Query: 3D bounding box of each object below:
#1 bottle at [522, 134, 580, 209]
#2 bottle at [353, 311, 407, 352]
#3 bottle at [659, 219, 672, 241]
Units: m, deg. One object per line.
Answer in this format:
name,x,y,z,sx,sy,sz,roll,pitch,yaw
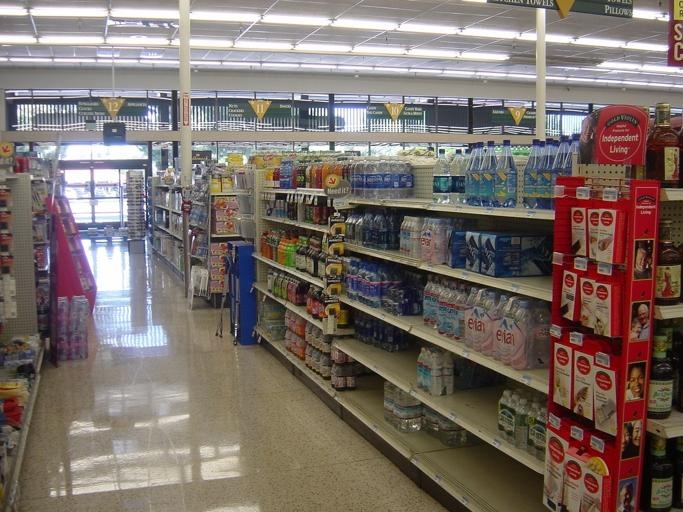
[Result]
bottle,1.130,-0.454,3.082,0.253,0.391,0.355,2,8,13
bottle,0.345,0.651,4.855,0.478,0.172,0.522,18,-11,3
bottle,1.528,-0.123,2.666,0.037,0.097,0.144,6,10,38
